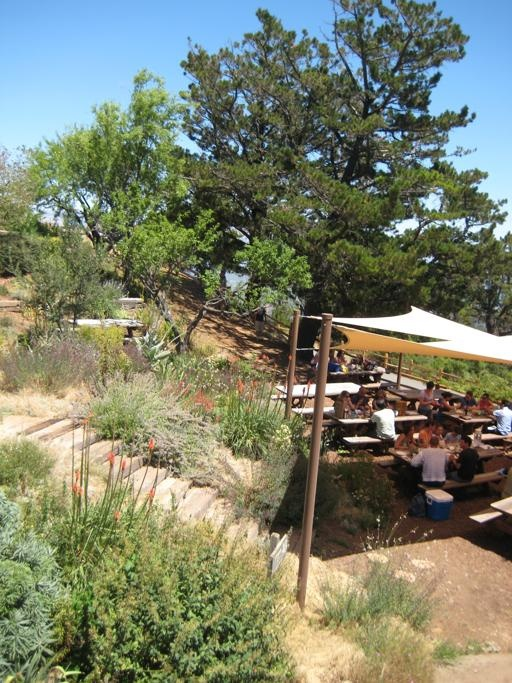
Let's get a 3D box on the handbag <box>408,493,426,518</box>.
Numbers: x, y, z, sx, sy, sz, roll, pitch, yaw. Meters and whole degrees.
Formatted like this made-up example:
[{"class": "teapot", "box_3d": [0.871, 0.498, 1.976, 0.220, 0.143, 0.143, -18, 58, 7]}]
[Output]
[{"class": "handbag", "box_3d": [2.177, 2.202, 7.230, 0.257, 0.296, 0.169, 6, 4, -33]}]
